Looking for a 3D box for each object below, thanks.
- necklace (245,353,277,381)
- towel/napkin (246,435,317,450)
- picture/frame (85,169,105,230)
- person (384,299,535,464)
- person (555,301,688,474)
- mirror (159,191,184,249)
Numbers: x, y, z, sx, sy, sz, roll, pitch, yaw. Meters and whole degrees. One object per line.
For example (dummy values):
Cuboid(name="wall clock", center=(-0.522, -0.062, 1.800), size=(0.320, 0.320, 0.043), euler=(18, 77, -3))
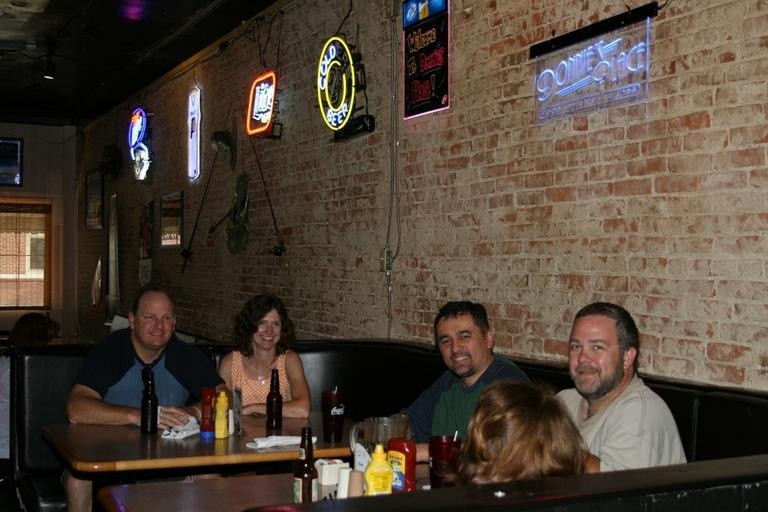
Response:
Cuboid(name="necklace", center=(-0.761, 0.686, 3.737), size=(0.219, 0.079, 0.157), euler=(14, -8, -2))
Cuboid(name="towel/napkin", center=(-0.504, 0.854, 2.802), size=(0.248, 0.050, 0.136), euler=(0, -4, -29))
Cuboid(name="picture/frame", center=(-5.176, -0.990, 10.877), size=(0.075, 1.159, 1.099), euler=(-3, 5, -32))
Cuboid(name="person", center=(0.368, 0.728, 3.599), size=(0.711, 1.171, 0.840), euler=(11, -16, -36))
Cuboid(name="person", center=(0.989, 0.573, 2.749), size=(0.635, 0.638, 0.852), euler=(1, -2, -12))
Cuboid(name="mirror", center=(-2.801, -0.460, 8.016), size=(0.045, 0.803, 0.796), euler=(8, -6, -32))
